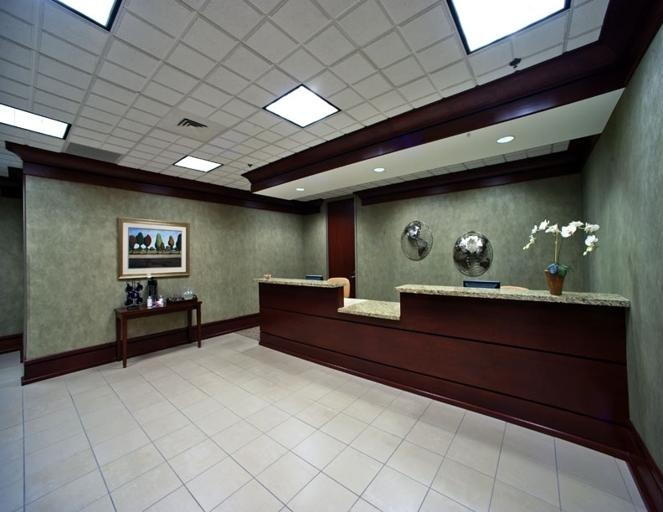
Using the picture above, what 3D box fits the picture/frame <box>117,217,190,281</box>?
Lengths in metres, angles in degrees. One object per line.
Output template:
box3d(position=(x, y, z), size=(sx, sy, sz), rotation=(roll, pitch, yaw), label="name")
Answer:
box3d(position=(-2.978, -0.118, 6.480), size=(0.082, 1.010, 1.100), rotation=(1, 1, 43), label="picture/frame")

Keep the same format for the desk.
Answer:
box3d(position=(-2.768, 1.166, 6.383), size=(0.456, 0.861, 1.309), rotation=(14, 13, 42), label="desk")

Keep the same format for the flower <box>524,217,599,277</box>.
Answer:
box3d(position=(3.252, -0.130, 5.502), size=(0.649, 0.806, 0.793), rotation=(10, -9, -33), label="flower")

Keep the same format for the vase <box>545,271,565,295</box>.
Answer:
box3d(position=(2.305, 0.266, 4.056), size=(0.143, 0.240, 0.230), rotation=(3, 8, 34), label="vase")
